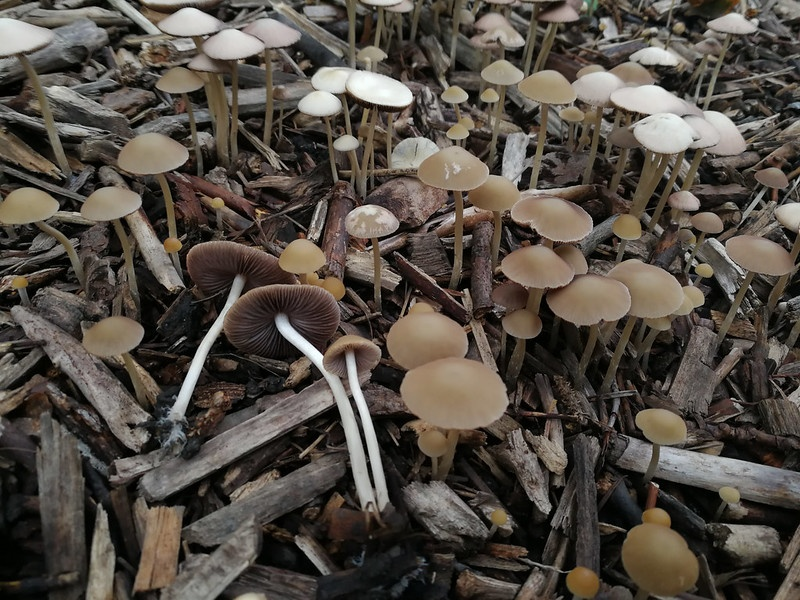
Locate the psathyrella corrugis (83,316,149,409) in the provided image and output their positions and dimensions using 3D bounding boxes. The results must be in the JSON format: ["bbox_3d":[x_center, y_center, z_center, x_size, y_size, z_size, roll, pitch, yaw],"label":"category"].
[{"bbox_3d":[-2.542,0.593,6.149,0.440,0.803,0.388,40,62,16],"label":"psathyrella corrugis"}]
